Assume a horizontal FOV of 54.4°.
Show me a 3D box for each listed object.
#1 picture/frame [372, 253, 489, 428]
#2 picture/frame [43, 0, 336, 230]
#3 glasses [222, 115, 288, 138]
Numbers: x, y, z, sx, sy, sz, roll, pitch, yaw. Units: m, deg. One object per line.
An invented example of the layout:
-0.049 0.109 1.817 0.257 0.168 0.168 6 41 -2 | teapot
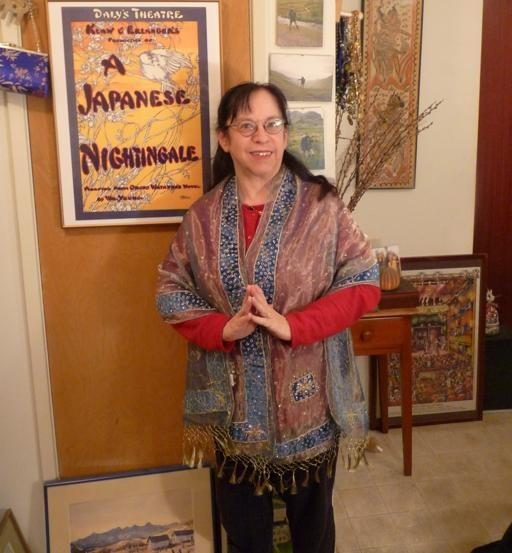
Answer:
0.877 0.309 2.532 0.724 1.223 0.042 -3 6 -11 | picture/frame
-0.225 -0.508 1.491 0.601 0.857 0.027 -2 9 -14 | picture/frame
0.001 -0.389 1.307 0.167 0.044 0.096 -3 10 -1 | glasses
